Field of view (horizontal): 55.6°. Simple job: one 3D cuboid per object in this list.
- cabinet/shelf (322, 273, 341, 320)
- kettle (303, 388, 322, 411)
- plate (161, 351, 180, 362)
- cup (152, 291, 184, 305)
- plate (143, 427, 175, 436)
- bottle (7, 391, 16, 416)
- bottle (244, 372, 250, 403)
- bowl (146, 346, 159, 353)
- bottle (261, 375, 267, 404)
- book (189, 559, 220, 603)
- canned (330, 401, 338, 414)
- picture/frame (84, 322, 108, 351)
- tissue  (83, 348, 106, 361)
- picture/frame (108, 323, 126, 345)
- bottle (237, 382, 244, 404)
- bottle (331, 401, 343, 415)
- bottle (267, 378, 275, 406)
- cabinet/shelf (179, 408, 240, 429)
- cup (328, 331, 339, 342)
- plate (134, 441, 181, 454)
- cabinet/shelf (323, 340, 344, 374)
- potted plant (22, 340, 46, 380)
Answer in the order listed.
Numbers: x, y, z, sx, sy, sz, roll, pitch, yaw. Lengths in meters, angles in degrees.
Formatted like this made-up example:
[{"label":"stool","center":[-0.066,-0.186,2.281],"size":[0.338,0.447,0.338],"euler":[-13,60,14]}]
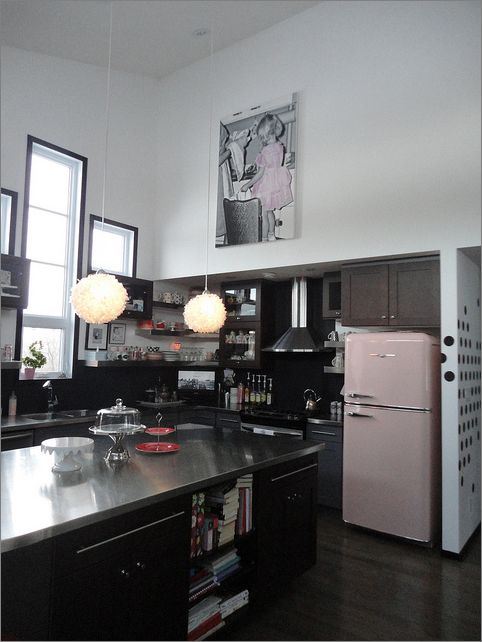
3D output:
[{"label":"cabinet/shelf","center":[0.923,-0.263,4.684],"size":[0.191,0.468,0.098],"euler":[-2,-6,29]},{"label":"kettle","center":[0.800,0.882,5.137],"size":[0.204,0.220,0.360],"euler":[1,-6,9]},{"label":"plate","center":[-0.873,0.443,5.647],"size":[0.206,0.123,0.090],"euler":[3,-6,-16]},{"label":"cup","center":[-0.907,-0.281,5.776],"size":[0.253,0.117,0.168],"euler":[0,-1,-2]},{"label":"plate","center":[-0.564,0.761,3.100],"size":[0.175,0.056,0.294],"euler":[2,-6,0]},{"label":"bottle","center":[-2.040,0.737,4.091],"size":[0.071,0.218,0.171],"euler":[4,-6,-27]},{"label":"bottle","center":[0.077,0.839,5.758],"size":[0.075,0.384,0.253],"euler":[1,-5,3]},{"label":"bowl","center":[-1.087,0.354,5.646],"size":[0.144,0.089,0.250],"euler":[3,-6,-10]},{"label":"bottle","center":[0.278,0.836,5.608],"size":[0.069,0.333,0.231],"euler":[1,-5,2]},{"label":"book","center":[-0.177,1.268,2.189],"size":[0.168,0.047,0.171],"euler":[-13,-1,-40]},{"label":"canned","center":[1.002,0.941,4.988],"size":[0.090,0.127,0.102],"euler":[3,-3,1]},{"label":"picture/frame","center":[-1.546,0.164,4.851],"size":[0.012,0.323,0.277],"euler":[-2,-4,23]},{"label":"tissue ","center":[-1.529,0.363,4.798],"size":[0.232,0.109,0.164],"euler":[4,-6,-20]},{"label":"picture/frame","center":[-1.436,0.143,5.271],"size":[0.014,0.243,0.209],"euler":[-1,-3,29]},{"label":"bottle","center":[-0.002,0.922,5.729],"size":[0.068,0.224,0.108],"euler":[5,-6,-33]},{"label":"bottle","center":[1.021,0.942,4.939],"size":[0.124,0.163,0.103],"euler":[-1,-6,25]},{"label":"bottle","center":[0.349,0.855,5.571],"size":[0.089,0.304,0.173],"euler":[1,-5,6]},{"label":"cabinet/shelf","center":[-0.324,1.127,5.377],"size":[0.759,0.215,0.294],"euler":[0,-6,20]},{"label":"cup","center":[0.957,0.165,4.783],"size":[0.108,0.137,0.071],"euler":[1,0,-13]},{"label":"plate","center":[-0.492,0.738,2.678],"size":[0.241,0.035,0.348],"euler":[4,-6,-14]},{"label":"cabinet/shelf","center":[0.972,0.383,4.778],"size":[0.191,0.330,0.595],"euler":[0,-6,12]},{"label":"potted plant","center":[-1.972,0.365,4.352],"size":[0.197,0.362,0.299],"euler":[4,-6,-27]}]
